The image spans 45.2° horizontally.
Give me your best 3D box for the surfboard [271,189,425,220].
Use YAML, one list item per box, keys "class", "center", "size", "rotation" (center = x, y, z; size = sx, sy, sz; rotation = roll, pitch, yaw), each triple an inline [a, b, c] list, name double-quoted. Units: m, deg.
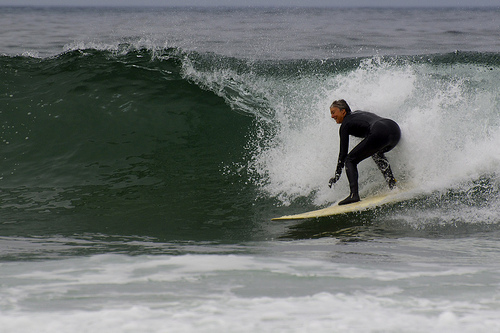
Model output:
- class: "surfboard"
  center: [1.991, 0.771, 11.735]
  size: [2.102, 0.119, 0.287]
  rotation: [-9, 35, 1]
